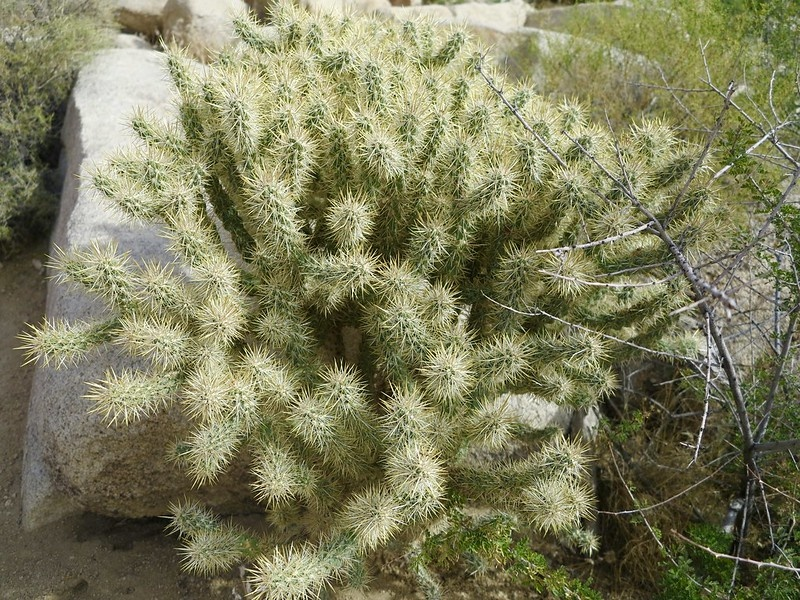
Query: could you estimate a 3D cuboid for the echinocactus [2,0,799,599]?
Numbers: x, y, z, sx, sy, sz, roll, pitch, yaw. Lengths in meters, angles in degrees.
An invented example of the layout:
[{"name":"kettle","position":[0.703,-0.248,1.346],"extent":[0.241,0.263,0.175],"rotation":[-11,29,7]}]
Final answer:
[{"name":"echinocactus","position":[-0.032,0.016,6.343],"extent":[3.098,2.979,3.761],"rotation":[4,72,1]}]
